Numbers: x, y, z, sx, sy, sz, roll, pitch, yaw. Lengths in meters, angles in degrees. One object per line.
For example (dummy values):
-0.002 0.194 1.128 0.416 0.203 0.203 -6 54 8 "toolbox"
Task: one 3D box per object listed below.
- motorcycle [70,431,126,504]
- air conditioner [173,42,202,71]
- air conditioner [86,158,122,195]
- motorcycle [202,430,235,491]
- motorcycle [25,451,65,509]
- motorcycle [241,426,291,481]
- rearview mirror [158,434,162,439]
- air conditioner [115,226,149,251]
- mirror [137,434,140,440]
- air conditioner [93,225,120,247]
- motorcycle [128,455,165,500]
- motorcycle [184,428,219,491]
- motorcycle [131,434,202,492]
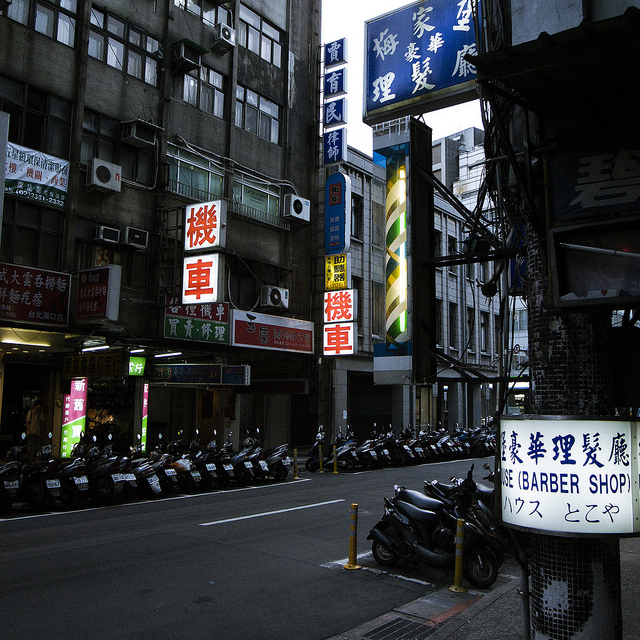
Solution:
-4.532 2.895 13.821 1.276 1.244 0.560 8 -11 10 "motorcycle"
-4.121 -8.445 22.129 0.512 0.718 1.058 -3 -6 40 "air conditioner"
-5.942 -3.928 18.920 0.369 1.000 0.934 -4 -6 29 "air conditioner"
-2.332 3.241 16.844 0.616 1.112 1.398 13 -26 -33 "motorcycle"
-5.171 3.106 13.078 0.471 1.186 1.523 -8 -6 -36 "motorcycle"
-1.509 3.551 18.321 1.378 1.350 0.718 0 -4 15 "motorcycle"
-6.237 4.513 26.981 0.040 0.225 0.187 -3 1 27 "rearview mirror"
-5.407 -2.394 19.905 0.471 0.564 0.986 -2 -5 35 "air conditioner"
-5.859 3.752 22.392 0.124 0.172 0.019 3 0 -7 "mirror"
-5.922 -2.387 19.259 0.426 0.447 0.708 -3 -5 37 "air conditioner"
-3.673 3.368 14.709 0.720 0.823 0.760 2 -4 -15 "motorcycle"
-2.825 3.550 16.520 0.680 1.052 1.349 -3 -1 -13 "motorcycle"
-3.703 3.217 15.799 1.574 1.291 0.923 -9 11 35 "motorcycle"
